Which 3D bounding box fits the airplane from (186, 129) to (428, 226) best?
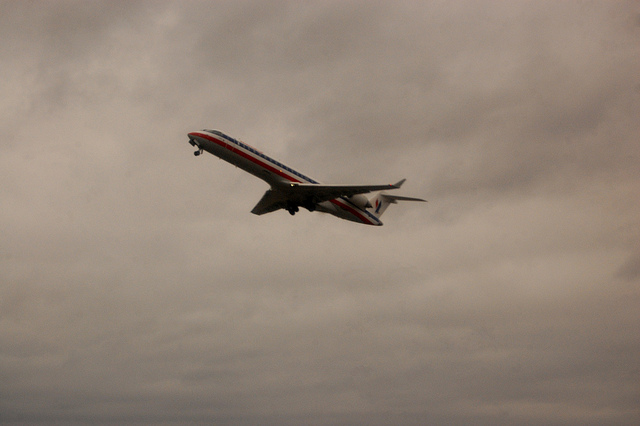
[{"bbox_3d":[-2.993,-1.704,115.603,22.481,10.651,12.013,1,-55,-14],"label":"airplane"}]
